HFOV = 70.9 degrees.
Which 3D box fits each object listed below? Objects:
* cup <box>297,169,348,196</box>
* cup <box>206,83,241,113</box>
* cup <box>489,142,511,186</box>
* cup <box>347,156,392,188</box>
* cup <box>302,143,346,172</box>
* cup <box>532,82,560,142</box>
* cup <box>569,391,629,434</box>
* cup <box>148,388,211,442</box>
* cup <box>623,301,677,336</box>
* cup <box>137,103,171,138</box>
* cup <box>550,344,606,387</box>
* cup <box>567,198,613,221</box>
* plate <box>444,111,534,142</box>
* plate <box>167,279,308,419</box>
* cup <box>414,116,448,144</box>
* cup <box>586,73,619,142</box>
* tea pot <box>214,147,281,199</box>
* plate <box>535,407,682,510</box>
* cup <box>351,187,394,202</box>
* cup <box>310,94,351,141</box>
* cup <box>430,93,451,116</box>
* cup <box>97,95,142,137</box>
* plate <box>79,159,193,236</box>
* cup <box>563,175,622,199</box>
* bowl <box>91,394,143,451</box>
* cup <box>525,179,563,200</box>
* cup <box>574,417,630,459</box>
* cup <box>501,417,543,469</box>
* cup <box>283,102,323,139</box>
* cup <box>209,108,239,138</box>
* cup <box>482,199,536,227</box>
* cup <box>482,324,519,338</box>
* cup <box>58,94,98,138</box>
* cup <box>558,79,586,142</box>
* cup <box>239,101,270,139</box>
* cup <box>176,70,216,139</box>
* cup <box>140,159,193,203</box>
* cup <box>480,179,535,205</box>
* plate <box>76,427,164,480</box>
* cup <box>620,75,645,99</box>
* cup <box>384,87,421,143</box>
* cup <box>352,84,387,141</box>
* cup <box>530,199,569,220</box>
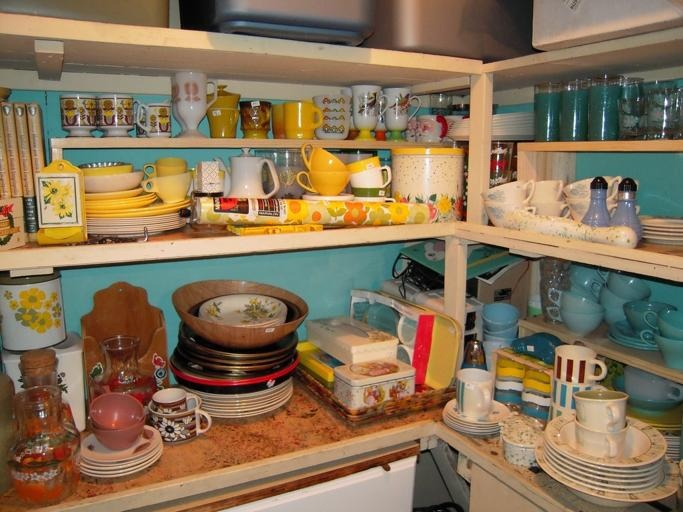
[{"bbox_3d":[-0.060,-0.208,1.446,0.122,0.054,0.100,-2,5,3],"label":"cup"},{"bbox_3d":[-0.384,-0.497,1.565,0.101,0.073,0.106,0,2,0],"label":"cup"},{"bbox_3d":[0.541,-0.312,1.611,0.101,0.140,0.069,-4,15,-2],"label":"cup"},{"bbox_3d":[0.086,-0.255,1.472,0.122,0.087,0.092,2,6,18],"label":"cup"},{"bbox_3d":[-0.061,-0.293,1.422,0.131,0.081,0.071,8,19,36],"label":"cup"},{"bbox_3d":[0.628,-0.437,1.462,0.079,0.170,0.050,6,18,32],"label":"cup"},{"bbox_3d":[0.650,0.387,1.183,0.116,0.084,0.141,1,-5,-4],"label":"cup"},{"bbox_3d":[-0.448,0.439,1.363,0.113,0.079,0.178,2,-2,25],"label":"cup"},{"bbox_3d":[0.957,0.175,1.475,0.117,0.068,0.115,-1,8,0],"label":"cup"},{"bbox_3d":[-0.583,-0.420,1.456,0.066,0.108,0.113,22,31,21],"label":"cup"},{"bbox_3d":[0.668,0.302,1.378,0.097,0.090,0.129,-3,8,-30],"label":"cup"},{"bbox_3d":[0.691,-0.137,1.327,0.069,0.049,0.074,-1,13,0],"label":"cup"},{"bbox_3d":[0.508,-0.443,1.671,0.333,0.091,0.159,6,17,31],"label":"plate"},{"bbox_3d":[-0.312,0.291,1.551,0.404,0.288,0.412,7,11,10],"label":"plate"},{"bbox_3d":[0.336,-0.486,1.860,0.126,0.105,0.093,-1,6,-13],"label":"cup"},{"bbox_3d":[0.750,-0.412,1.356,0.112,0.154,0.094,-17,19,-41],"label":"cup"},{"bbox_3d":[-0.291,-0.244,1.454,0.220,0.148,0.123,3,7,14],"label":"tea pot"},{"bbox_3d":[0.610,0.424,1.137,0.232,0.082,0.224,-12,17,-35],"label":"plate"},{"bbox_3d":[0.105,-0.184,1.514,0.093,0.033,0.062,1,4,-14],"label":"cup"},{"bbox_3d":[-0.066,-0.478,1.660,0.186,0.156,0.121,-5,21,-17],"label":"cup"},{"bbox_3d":[0.401,-0.654,2.064,0.100,0.109,0.098,1,19,0],"label":"cup"},{"bbox_3d":[-0.670,-0.422,1.440,0.128,0.116,0.096,-10,20,-41],"label":"cup"},{"bbox_3d":[-0.540,-0.159,1.312,0.209,0.197,0.315,2,16,20],"label":"plate"},{"bbox_3d":[0.699,-0.181,1.349,0.103,0.049,0.086,3,5,36],"label":"cup"},{"bbox_3d":[-0.607,0.427,1.285,0.129,0.106,0.146,-1,25,-31],"label":"bowl"},{"bbox_3d":[0.595,-0.193,1.401,0.061,0.057,0.079,-4,8,-34],"label":"cup"},{"bbox_3d":[0.639,0.450,1.148,0.088,0.088,0.133,-6,0,20],"label":"cup"},{"bbox_3d":[0.491,0.518,1.334,0.085,0.038,0.118,1,9,7],"label":"cup"},{"bbox_3d":[-0.123,-0.453,1.606,0.154,0.112,0.096,2,13,15],"label":"cup"},{"bbox_3d":[-0.376,-0.421,1.520,0.102,0.079,0.096,1,11,0],"label":"cup"},{"bbox_3d":[0.508,-0.127,1.425,0.103,0.045,0.082,4,6,5],"label":"cup"},{"bbox_3d":[0.569,0.266,1.689,0.072,0.036,0.070,0,1,0],"label":"cup"},{"bbox_3d":[-0.772,-0.409,1.408,0.104,0.110,0.101,2,11,0],"label":"cup"},{"bbox_3d":[0.677,-0.422,1.388,0.073,0.169,0.066,2,16,21],"label":"cup"},{"bbox_3d":[-0.288,-0.452,1.608,0.116,0.120,0.113,1,10,0],"label":"cup"},{"bbox_3d":[-0.458,-0.458,1.456,0.106,0.192,0.072,-9,16,-20],"label":"cup"},{"bbox_3d":[-0.491,-0.221,1.397,0.163,0.110,0.108,-8,17,-30],"label":"cup"},{"bbox_3d":[0.502,-0.184,1.425,0.099,0.049,0.083,1,7,26],"label":"cup"},{"bbox_3d":[-0.582,0.511,1.255,0.212,0.049,0.170,-6,15,-11],"label":"plate"},{"bbox_3d":[0.782,-0.451,1.306,0.060,0.063,0.059,2,1,0],"label":"cup"},{"bbox_3d":[0.215,-0.509,1.722,0.193,0.208,0.122,-4,16,-14],"label":"cup"},{"bbox_3d":[0.090,-0.499,1.680,0.143,0.173,0.119,-2,11,-5],"label":"cup"},{"bbox_3d":[0.607,-0.134,1.393,0.084,0.038,0.058,3,2,-5],"label":"cup"}]
